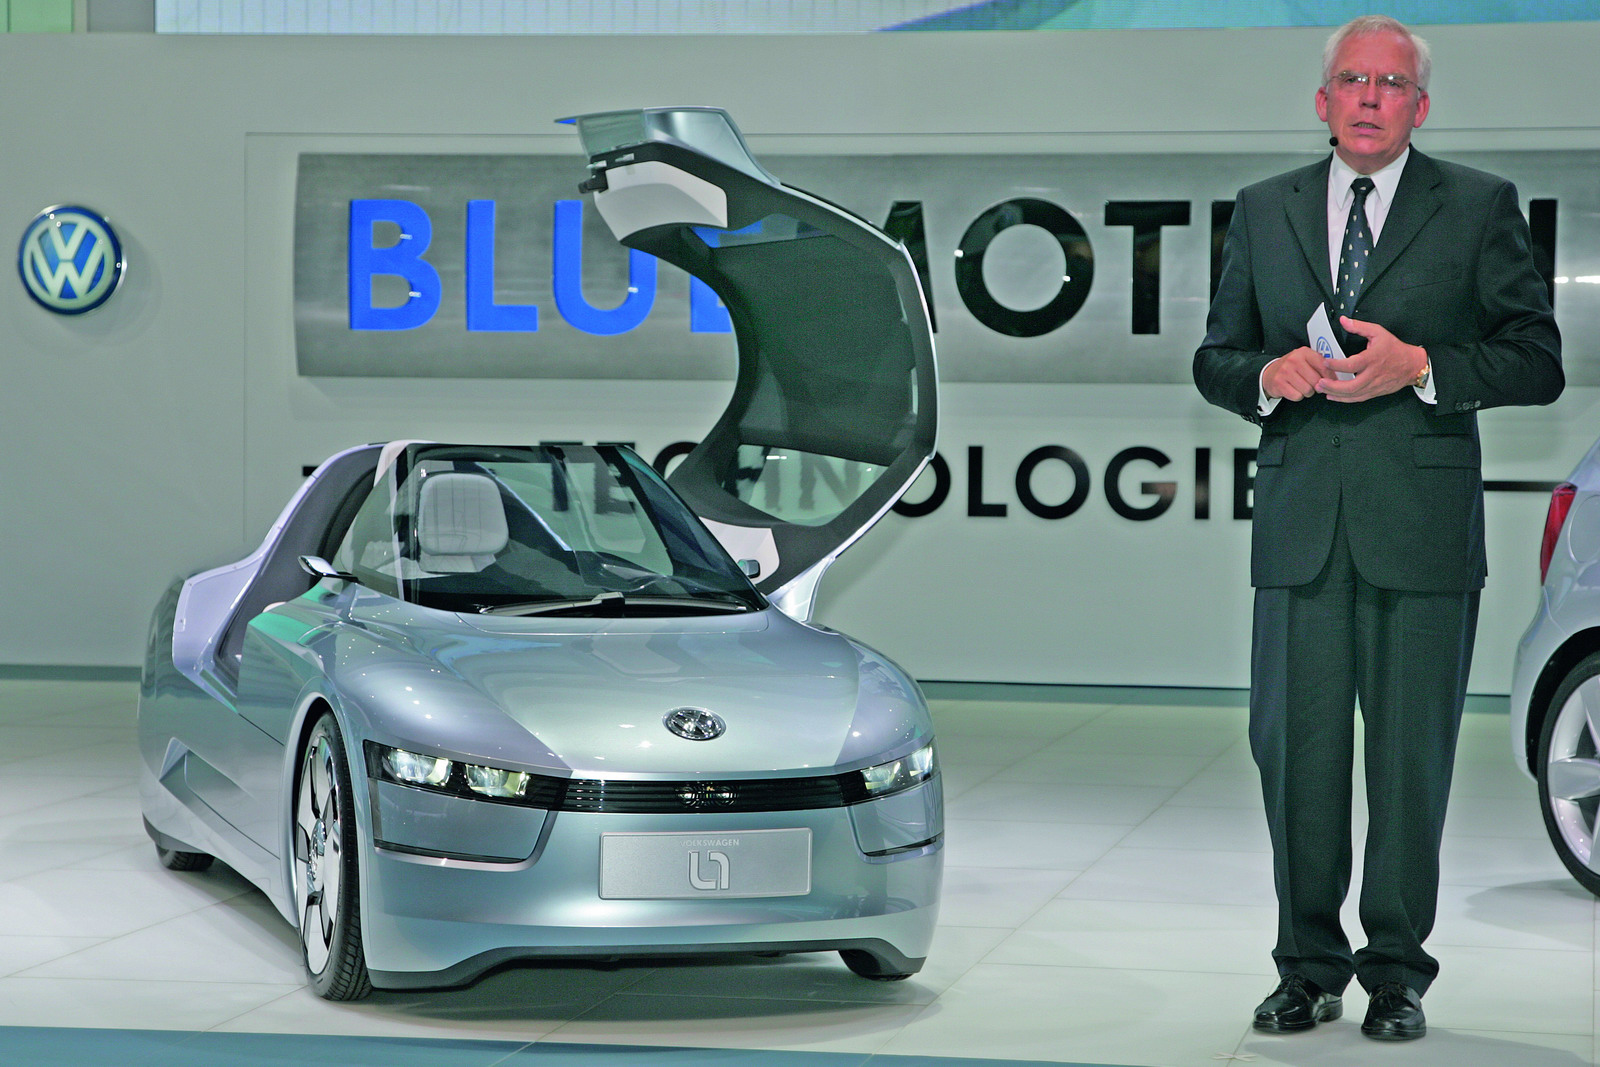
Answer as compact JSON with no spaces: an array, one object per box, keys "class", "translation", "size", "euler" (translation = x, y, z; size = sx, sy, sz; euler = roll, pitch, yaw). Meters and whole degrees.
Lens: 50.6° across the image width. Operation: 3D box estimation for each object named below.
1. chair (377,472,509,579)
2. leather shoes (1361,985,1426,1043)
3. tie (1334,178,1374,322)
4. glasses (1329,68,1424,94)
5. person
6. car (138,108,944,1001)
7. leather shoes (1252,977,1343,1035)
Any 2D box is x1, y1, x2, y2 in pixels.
[{"class":"chair","translation":[-1.146,-0.070,5.678],"size":[0.354,0.350,0.351],"euler":[-3,-7,-14]},{"class":"leather shoes","translation":[1.708,1.387,4.867],"size":[0.164,0.169,0.113],"euler":[2,5,20]},{"class":"tie","translation":[1.590,-0.805,4.836],"size":[0.078,0.427,0.043],"euler":[4,-7,11]},{"class":"glasses","translation":[1.634,-1.272,4.751],"size":[0.275,0.054,0.093],"euler":[0,4,-3]},{"class":"person","translation":[1.621,0.010,4.870],"size":[0.946,2.945,0.370],"euler":[2,5,22]},{"class":"car","translation":[-0.980,-0.152,6.551],"size":[2.476,2.752,3.781],"euler":[-1,5,-35]},{"class":"leather shoes","translation":[1.463,1.400,5.008],"size":[0.273,0.131,0.123],"euler":[5,1,-24]}]
